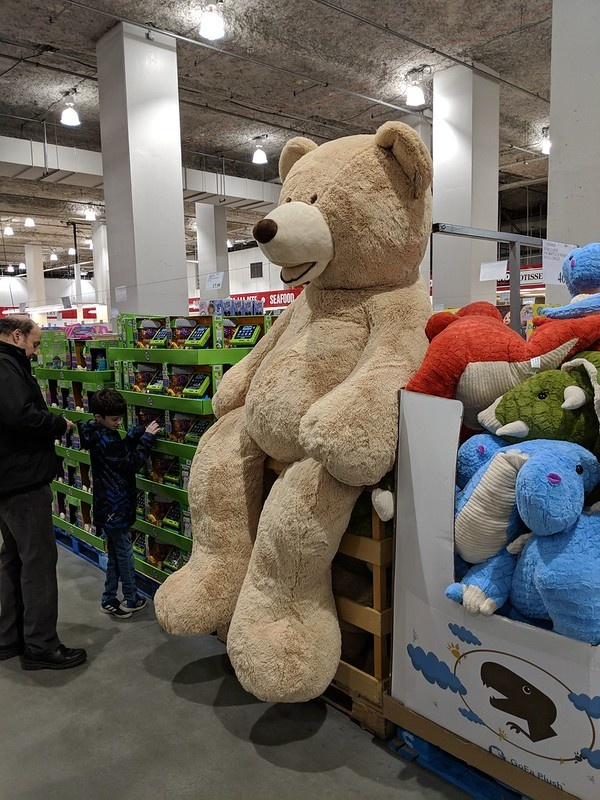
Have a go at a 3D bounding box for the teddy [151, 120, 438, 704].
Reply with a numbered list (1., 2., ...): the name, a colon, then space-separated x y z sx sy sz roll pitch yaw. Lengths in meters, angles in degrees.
1. teddy: -0.025 0.011 2.149 0.970 1.993 0.774 -1 7 35

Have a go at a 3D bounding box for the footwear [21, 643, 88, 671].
1. footwear: -1.027 1.086 2.684 0.284 0.132 0.106 -1 3 -6
